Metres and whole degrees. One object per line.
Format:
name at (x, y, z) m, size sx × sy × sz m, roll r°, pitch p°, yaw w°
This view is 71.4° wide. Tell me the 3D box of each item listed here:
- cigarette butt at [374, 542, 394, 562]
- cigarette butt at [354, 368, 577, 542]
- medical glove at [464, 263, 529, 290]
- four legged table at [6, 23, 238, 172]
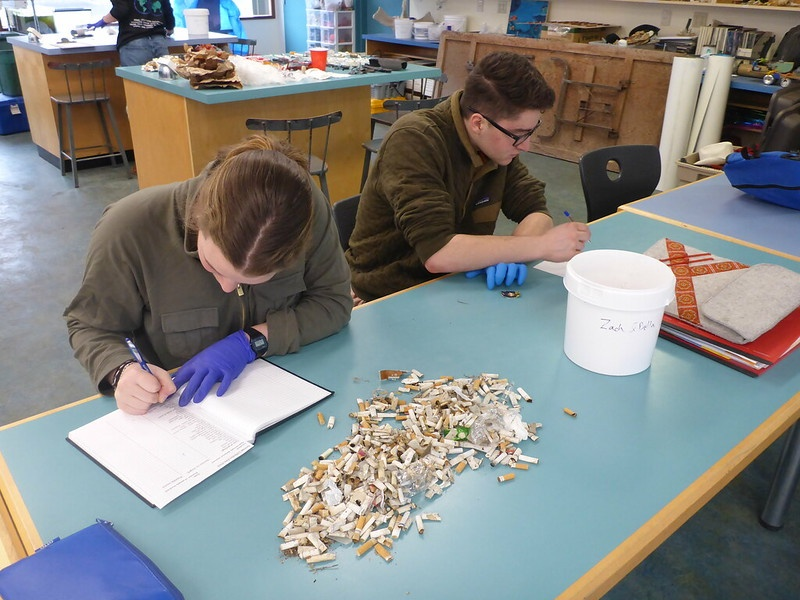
cigarette butt at (-0.031, 0.457, 1.017) m, size 0.018 × 0.010 × 0.033 m, roll -36°, pitch 49°, yaw -21°
cigarette butt at (0.064, 0.308, 1.189) m, size 0.489 × 0.233 × 0.344 m, roll -5°, pitch 26°, yaw -20°
medical glove at (0.330, -0.076, 1.762) m, size 0.158 × 0.072 × 0.091 m, roll -6°, pitch 33°, yaw 8°
four legged table at (-2.782, -1.769, 5.244) m, size 2.748 × 1.152 × 1.235 m, roll -12°, pitch 33°, yaw -29°
